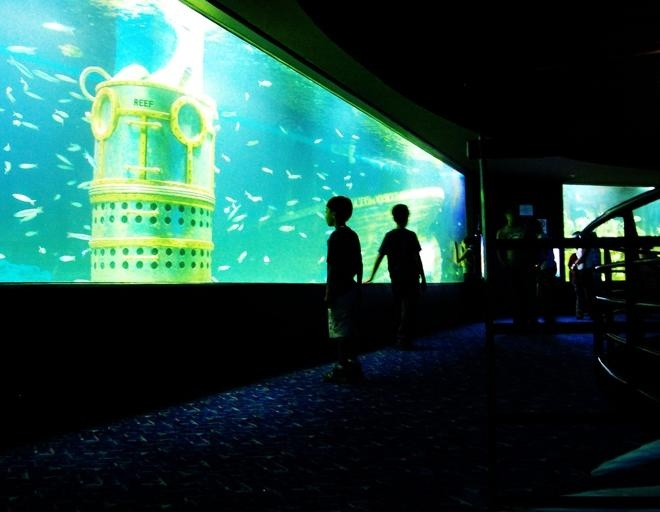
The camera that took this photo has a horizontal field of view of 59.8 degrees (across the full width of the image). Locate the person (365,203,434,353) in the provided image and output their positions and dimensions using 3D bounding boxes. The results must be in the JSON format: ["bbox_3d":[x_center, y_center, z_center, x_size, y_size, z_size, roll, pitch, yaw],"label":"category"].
[{"bbox_3d":[1.148,0.358,9.119,0.717,2.299,0.595,0,1,5],"label":"person"}]

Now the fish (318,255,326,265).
[{"bbox_3d":[-0.173,0.081,12.167,0.071,0.081,0.315,-12,24,33],"label":"fish"}]

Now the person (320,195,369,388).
[{"bbox_3d":[0.168,0.389,7.041,0.439,2.243,0.448,-1,1,2],"label":"person"}]
